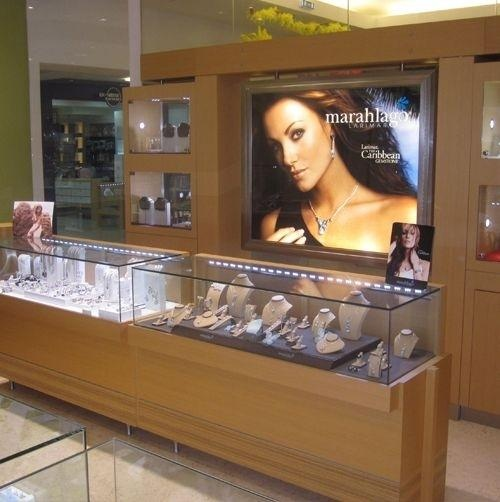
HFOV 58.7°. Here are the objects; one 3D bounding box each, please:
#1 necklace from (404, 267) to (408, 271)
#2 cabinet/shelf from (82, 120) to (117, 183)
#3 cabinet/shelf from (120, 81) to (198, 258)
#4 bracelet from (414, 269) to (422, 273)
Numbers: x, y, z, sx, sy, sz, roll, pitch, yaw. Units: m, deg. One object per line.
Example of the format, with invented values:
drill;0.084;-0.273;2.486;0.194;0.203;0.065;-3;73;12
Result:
necklace;0.740;0.084;2.109;0.016;0.016;0.004;3;5;30
cabinet/shelf;-2.168;-1.449;6.538;0.406;0.779;0.202;-3;3;-12
cabinet/shelf;-0.865;-0.861;4.736;0.872;1.653;0.485;3;12;12
bracelet;0.779;0.094;2.052;0.005;0.021;0.021;8;-6;-43
